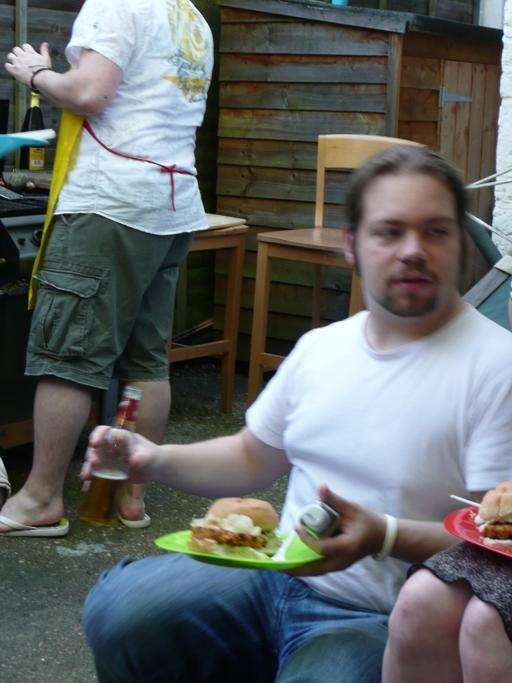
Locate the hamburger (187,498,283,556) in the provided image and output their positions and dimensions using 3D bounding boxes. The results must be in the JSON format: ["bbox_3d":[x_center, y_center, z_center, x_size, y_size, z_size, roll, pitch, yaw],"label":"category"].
[{"bbox_3d":[-0.024,0.273,0.855,0.139,0.052,0.096,3,47,-23],"label":"hamburger"}]

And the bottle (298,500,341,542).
[{"bbox_3d":[0.079,0.228,0.710,0.047,0.052,0.018,16,14,34],"label":"bottle"}]
